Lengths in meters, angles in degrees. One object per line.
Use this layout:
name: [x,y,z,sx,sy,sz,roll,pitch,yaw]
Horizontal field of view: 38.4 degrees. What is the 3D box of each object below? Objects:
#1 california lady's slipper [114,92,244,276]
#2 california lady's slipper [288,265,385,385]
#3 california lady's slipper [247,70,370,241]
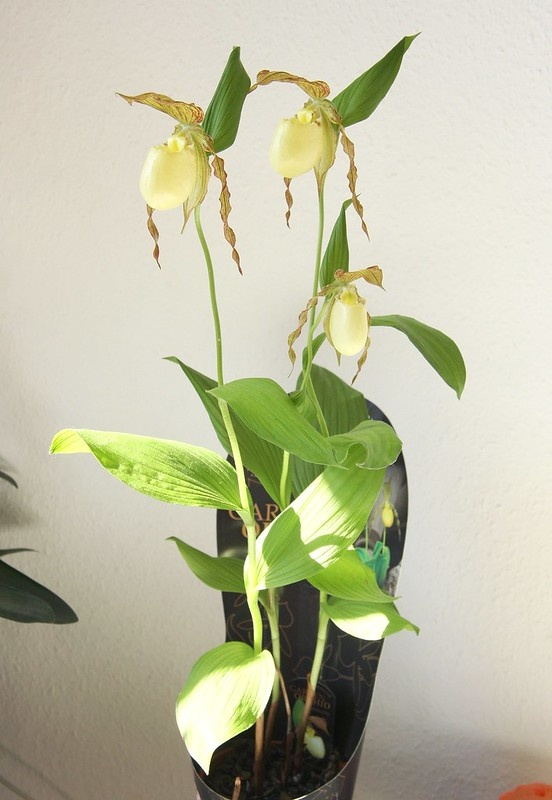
california lady's slipper: [-0.130,-0.323,1.107,0.153,0.219,0.178,12,1,-4]
california lady's slipper: [0.082,-0.111,1.189,0.135,0.186,0.134,-3,25,-22]
california lady's slipper: [0.052,-0.377,1.174,0.180,0.227,0.251,12,0,1]
